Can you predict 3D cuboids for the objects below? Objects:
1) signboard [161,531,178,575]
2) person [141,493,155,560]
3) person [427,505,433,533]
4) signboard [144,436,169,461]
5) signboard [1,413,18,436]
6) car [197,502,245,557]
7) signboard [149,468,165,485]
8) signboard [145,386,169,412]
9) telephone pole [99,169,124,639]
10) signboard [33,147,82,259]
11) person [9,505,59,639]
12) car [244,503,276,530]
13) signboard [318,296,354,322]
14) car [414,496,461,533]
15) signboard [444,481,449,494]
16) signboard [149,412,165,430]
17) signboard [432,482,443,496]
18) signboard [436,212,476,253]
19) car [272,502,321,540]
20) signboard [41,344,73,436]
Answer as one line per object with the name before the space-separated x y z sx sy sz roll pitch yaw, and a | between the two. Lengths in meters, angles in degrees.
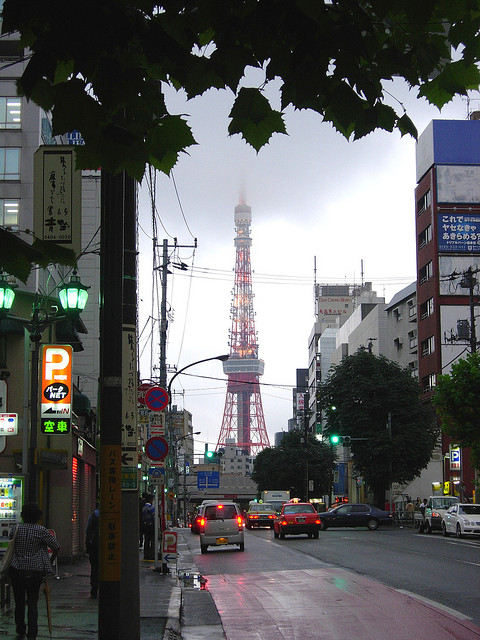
signboard | -1.695 5.475 19.810 0.399 1.229 0.334 3 20 -4
person | -2.769 6.269 24.669 0.365 1.614 1.949 1 -11 -8
person | 9.478 10.010 41.936 0.262 1.294 0.743 -2 -10 13
signboard | -2.050 3.110 20.326 0.528 0.603 0.924 2 -12 -13
signboard | -6.658 2.948 23.936 0.419 0.601 0.406 1 -10 -11
car | -0.761 7.421 30.053 0.927 1.390 2.141 0 -3 -1
signboard | -2.196 4.048 21.680 0.375 0.471 1.335 0 -13 -7
signboard | -2.186 1.996 21.560 0.526 0.560 1.282 0 -12 -5
telephone pole | -1.070 0.636 6.891 0.174 3.851 0.330 1 -8 -9
signboard | -2.649 -1.830 12.019 0.661 0.202 1.991 -6 -36 -19
person | -2.644 3.172 10.651 0.608 1.586 1.960 2 -12 -15
car | 1.132 12.576 54.633 1.343 1.399 3.549 0 -3 -2
signboard | 18.372 -2.251 164.799 6.486 5.821 4.055 -2 -10 5
car | 9.851 9.882 42.402 1.101 1.438 2.552 3 -17 -10
signboard | 15.005 12.285 61.030 0.343 0.809 0.698 -3 -11 13
signboard | -2.254 2.690 22.271 0.382 0.522 0.737 1 -12 -10
signboard | 16.898 14.500 71.933 0.725 1.073 2.891 -2 -13 9
signboard | 17.656 -7.190 69.164 2.352 3.318 0.296 -2 1 -1
car | 2.466 8.731 36.321 1.876 1.428 1.109 -4 -11 16
signboard | -5.111 1.845 23.063 0.838 3.117 0.291 0 31 -15
